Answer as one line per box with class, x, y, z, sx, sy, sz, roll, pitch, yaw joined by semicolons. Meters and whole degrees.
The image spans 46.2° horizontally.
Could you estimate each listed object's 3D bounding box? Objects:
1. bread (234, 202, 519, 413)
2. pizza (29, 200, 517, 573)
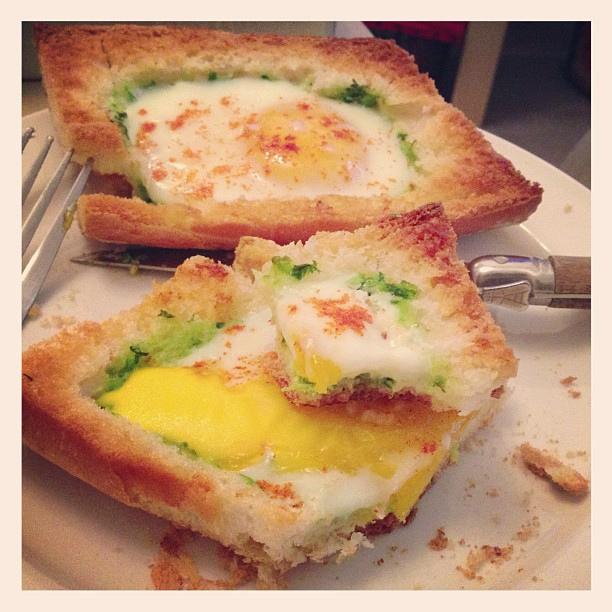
bread;0.170;0.024;1.756;0.760;0.170;0.555;-1;66;-39
pizza;-0.018;0.154;1.842;1.214;0.305;0.765;-25;61;-28
